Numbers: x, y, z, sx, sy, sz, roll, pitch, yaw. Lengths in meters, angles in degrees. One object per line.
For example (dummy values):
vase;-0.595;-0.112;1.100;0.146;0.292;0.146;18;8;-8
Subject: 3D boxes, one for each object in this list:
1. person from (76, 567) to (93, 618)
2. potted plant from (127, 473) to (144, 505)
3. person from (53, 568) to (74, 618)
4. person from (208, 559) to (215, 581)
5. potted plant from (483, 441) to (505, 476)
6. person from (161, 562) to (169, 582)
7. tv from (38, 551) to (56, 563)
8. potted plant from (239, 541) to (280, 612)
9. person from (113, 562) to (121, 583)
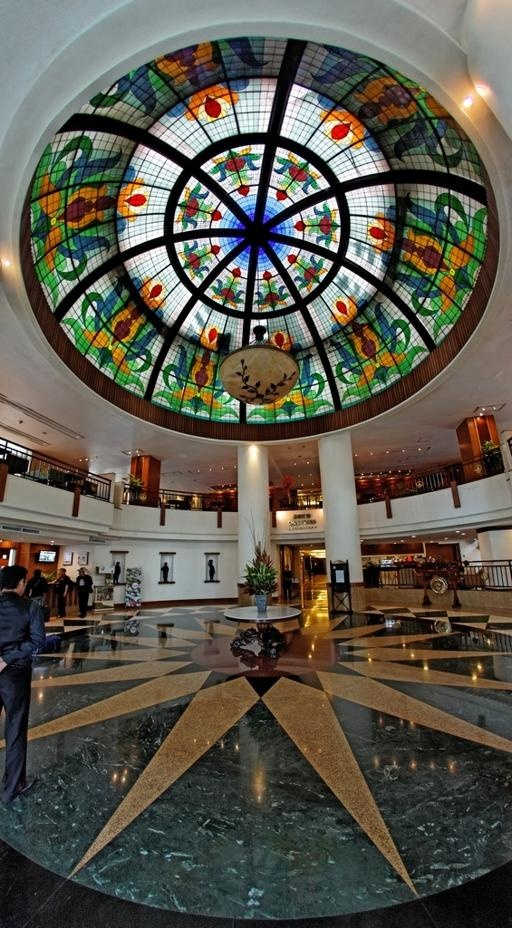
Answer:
person;-5.914;4.498;16.577;0.432;1.589;2.494;3;-14;-20
potted plant;-5.058;1.209;20.297;0.605;1.354;1.109;1;-13;-11
person;-6.173;4.221;15.391;0.488;1.511;2.818;4;-14;-21
person;-1.990;5.025;22.050;0.278;0.986;0.093;7;-14;-33
potted plant;7.935;-0.125;16.101;0.296;1.084;0.714;0;-6;-18
person;-3.899;4.857;20.963;0.351;0.862;0.100;11;-17;-44
tv;-8.768;4.004;20.262;0.405;0.651;1.011;-3;-14;9
potted plant;0.101;2.607;10.847;0.832;1.436;0.950;2;-13;-6
person;-5.584;4.504;19.373;0.175;0.908;0.425;-5;-13;18
